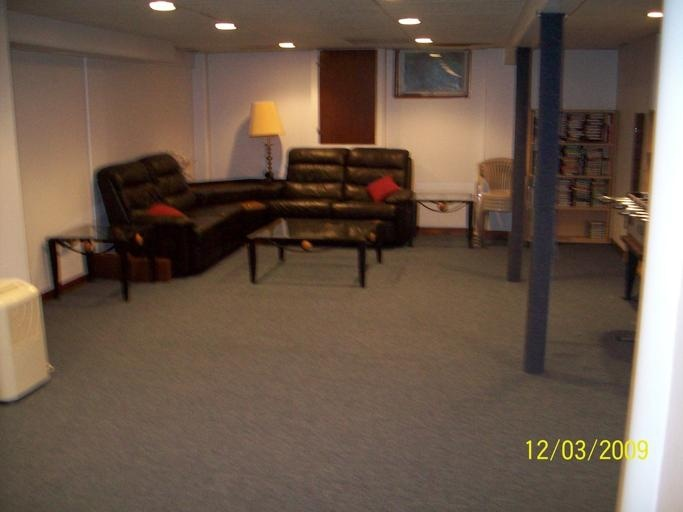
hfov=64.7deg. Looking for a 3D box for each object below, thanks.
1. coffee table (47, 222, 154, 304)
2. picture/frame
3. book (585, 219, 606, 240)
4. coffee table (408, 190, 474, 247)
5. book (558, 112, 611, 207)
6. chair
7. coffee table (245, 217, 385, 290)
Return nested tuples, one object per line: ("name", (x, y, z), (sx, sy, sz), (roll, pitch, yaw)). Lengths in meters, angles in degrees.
("coffee table", (-2.411, 0.005, 5.586), (0.815, 0.581, 0.805), (1, 7, 13))
("picture/frame", (1.327, -2.692, 7.916), (1.101, 0.761, 0.043), (6, 43, 16))
("book", (3.520, -0.397, 7.548), (0.310, 0.287, 0.233), (7, 14, 36))
("coffee table", (1.463, -0.491, 7.601), (0.870, 0.621, 0.858), (1, 15, 6))
("book", (3.336, -1.344, 7.401), (0.670, 1.297, 0.305), (2, 14, 20))
("chair", (2.112, -0.797, 7.601), (0.498, 1.137, 0.954), (0, 14, 15))
("coffee table", (-0.254, -0.100, 6.241), (1.432, 0.568, 1.346), (-1, 13, 8))
